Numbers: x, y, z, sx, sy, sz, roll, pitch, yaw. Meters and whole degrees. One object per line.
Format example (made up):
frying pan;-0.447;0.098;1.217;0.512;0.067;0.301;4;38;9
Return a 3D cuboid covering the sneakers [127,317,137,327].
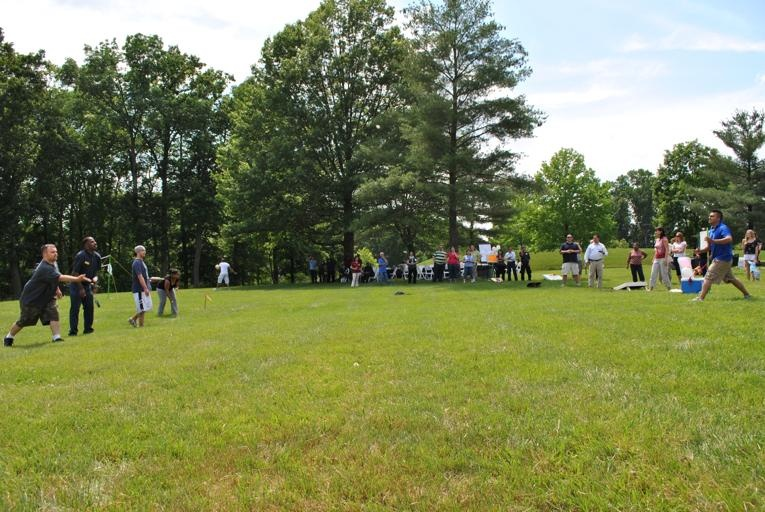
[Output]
sneakers;-7.609;2.039;20.937;0.160;0.184;0.435;0;-12;-13

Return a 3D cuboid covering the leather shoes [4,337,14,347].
leather shoes;-9.873;2.248;18.232;0.206;0.261;0.336;1;-3;-32

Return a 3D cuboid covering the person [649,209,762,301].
person;9.929;-0.004;20.516;1.256;2.739;1.147;1;-3;-43

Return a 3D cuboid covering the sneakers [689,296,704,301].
sneakers;9.347;1.312;20.623;0.440;0.185;0.160;2;-1;26

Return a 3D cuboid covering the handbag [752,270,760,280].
handbag;15.683;0.833;29.197;0.335;0.337;0.354;-6;4;-23
